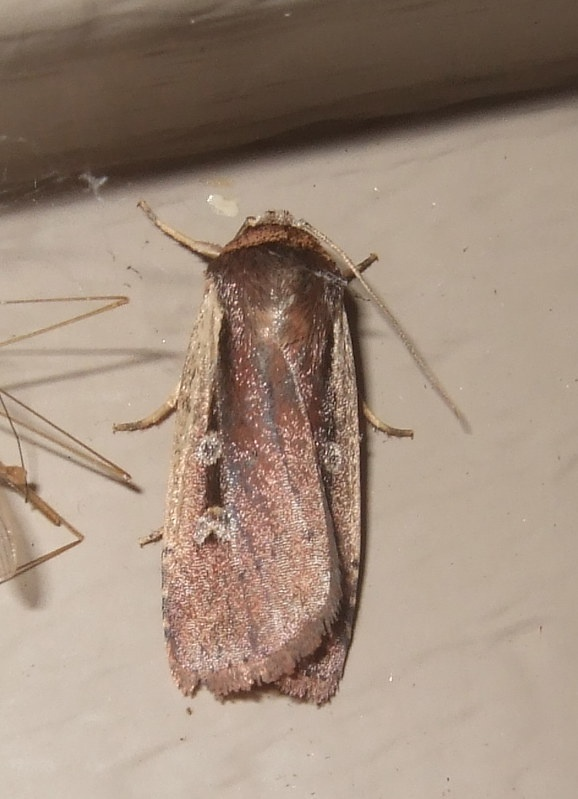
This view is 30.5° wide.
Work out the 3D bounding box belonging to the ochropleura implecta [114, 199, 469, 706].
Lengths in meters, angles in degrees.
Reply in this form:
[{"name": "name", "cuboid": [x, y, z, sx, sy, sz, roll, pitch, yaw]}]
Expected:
[{"name": "ochropleura implecta", "cuboid": [0.014, 0.153, 2.165, 0.634, 0.201, 0.977, 1, 79, -9]}]
